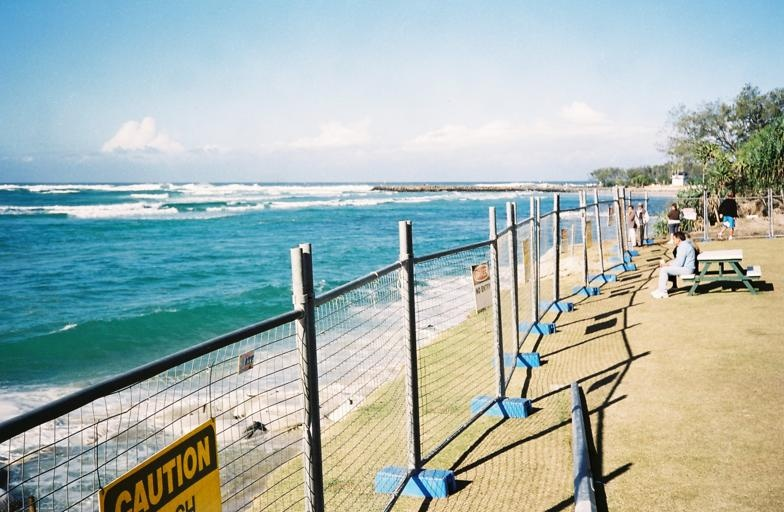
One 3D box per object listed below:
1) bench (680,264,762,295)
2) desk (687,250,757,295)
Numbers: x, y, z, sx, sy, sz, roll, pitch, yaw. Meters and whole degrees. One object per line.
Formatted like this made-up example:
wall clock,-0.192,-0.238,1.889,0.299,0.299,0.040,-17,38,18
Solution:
bench,8.197,0.487,13.026,1.562,0.922,2.385,8,11,31
desk,8.103,0.378,12.755,1.611,0.795,1.743,-1,5,21
